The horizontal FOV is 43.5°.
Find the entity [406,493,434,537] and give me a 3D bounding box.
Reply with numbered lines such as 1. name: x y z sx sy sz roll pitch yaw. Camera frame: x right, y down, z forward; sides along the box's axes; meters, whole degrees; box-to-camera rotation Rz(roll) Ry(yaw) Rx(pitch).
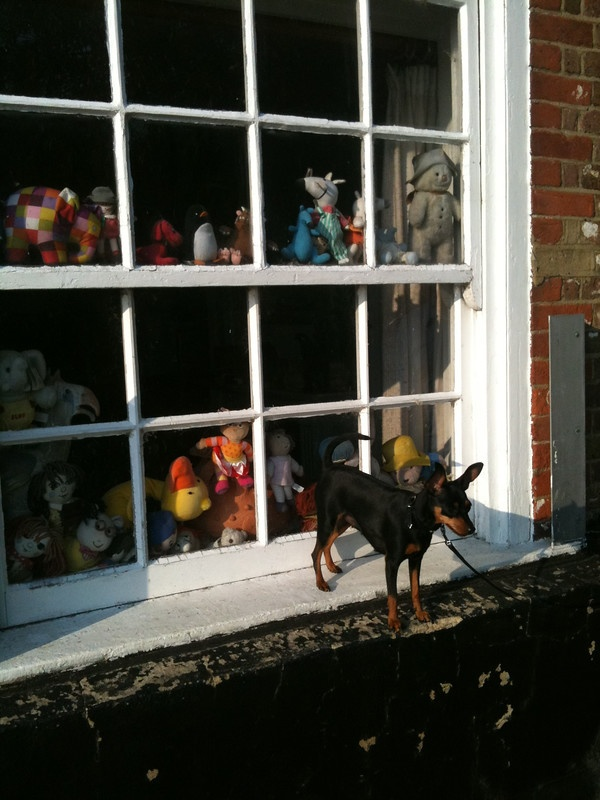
1. entity: 0.290 0.272 1.795 0.065 0.088 0.059 1 10 6
